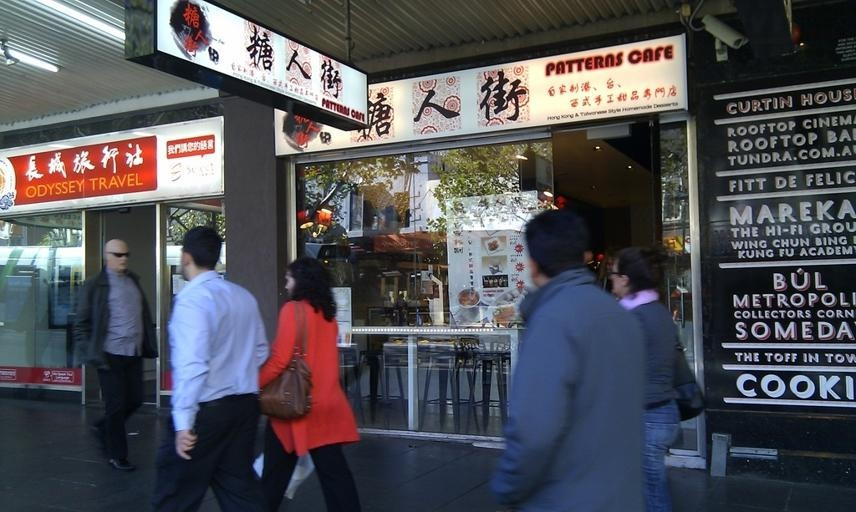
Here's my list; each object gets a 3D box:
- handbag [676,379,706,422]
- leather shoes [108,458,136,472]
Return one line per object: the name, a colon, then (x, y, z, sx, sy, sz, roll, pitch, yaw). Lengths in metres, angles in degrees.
handbag: (2.369, 1.332, 6.499, 0.270, 0.316, 0.121, 1, -6, 7)
leather shoes: (-3.682, 2.489, 8.519, 0.345, 0.132, 0.127, -3, -9, 23)
